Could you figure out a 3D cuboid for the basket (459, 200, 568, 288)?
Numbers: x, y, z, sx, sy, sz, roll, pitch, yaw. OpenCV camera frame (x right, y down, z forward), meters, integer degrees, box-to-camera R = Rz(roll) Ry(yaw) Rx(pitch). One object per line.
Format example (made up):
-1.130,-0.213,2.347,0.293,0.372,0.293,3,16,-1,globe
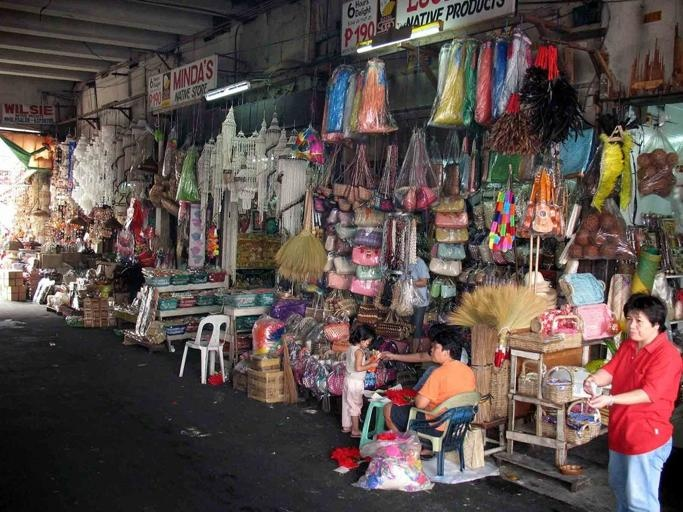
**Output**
1.593,-0.118,5.875,0.654,0.940,0.314,-2,9,37,basket

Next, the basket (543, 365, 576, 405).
1.738,1.050,4.432,0.231,0.246,0.222,4,7,32,basket

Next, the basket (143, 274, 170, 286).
-2.695,0.367,7.971,0.376,0.158,0.157,1,6,5,basket

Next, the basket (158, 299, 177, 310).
-2.514,0.718,7.905,0.170,0.113,0.171,-2,11,-25,basket

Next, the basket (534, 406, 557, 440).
1.680,1.396,4.535,0.188,0.319,0.247,-1,-5,6,basket

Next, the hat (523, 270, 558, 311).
1.818,0.326,4.975,0.311,0.333,0.329,-1,6,0,hat

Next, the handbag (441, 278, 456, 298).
1.179,0.369,6.133,0.203,0.249,0.092,0,-4,-22,handbag

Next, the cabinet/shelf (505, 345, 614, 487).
1.802,1.278,4.907,0.621,1.080,1.150,2,3,28,cabinet/shelf

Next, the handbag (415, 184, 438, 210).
0.872,-0.627,5.769,0.189,0.205,0.105,-21,-6,10,handbag

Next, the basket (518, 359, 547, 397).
1.557,1.031,4.561,0.188,0.287,0.283,0,-7,8,basket

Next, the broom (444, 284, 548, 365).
1.348,0.575,4.689,0.634,0.633,0.657,-1,-2,8,broom

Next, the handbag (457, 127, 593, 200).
1.932,-0.961,5.455,1.083,0.593,0.579,2,6,15,handbag

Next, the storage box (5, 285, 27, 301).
-7.494,0.853,12.630,0.347,0.401,0.391,5,-2,-6,storage box

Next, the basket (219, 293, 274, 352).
-1.229,0.795,7.115,0.719,0.762,0.573,0,4,-19,basket

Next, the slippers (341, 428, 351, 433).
0.036,1.662,5.163,0.076,0.036,0.031,-2,2,25,slippers

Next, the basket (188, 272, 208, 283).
-2.163,0.341,8.288,0.177,0.145,0.181,1,0,-32,basket

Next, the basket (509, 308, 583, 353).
1.729,0.593,4.657,0.536,0.286,0.327,-4,5,-36,basket

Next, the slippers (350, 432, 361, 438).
0.122,1.665,5.061,0.081,0.038,0.039,-3,5,0,slippers

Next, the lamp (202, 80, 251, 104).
-1.575,-2.259,7.493,0.244,0.164,0.996,-4,8,-41,lamp

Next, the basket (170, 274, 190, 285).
-2.392,0.360,8.074,0.202,0.099,0.141,-3,2,-32,basket

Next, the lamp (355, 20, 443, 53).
0.544,-2.249,5.595,0.774,0.122,0.115,-3,36,49,lamp

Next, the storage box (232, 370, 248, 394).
-1.162,1.434,6.237,0.182,0.258,0.345,0,4,-27,storage box

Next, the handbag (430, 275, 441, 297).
1.062,0.364,6.250,0.126,0.242,0.219,2,6,10,handbag

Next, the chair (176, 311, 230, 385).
-1.739,1.089,6.901,0.610,0.825,1.181,-1,6,-17,chair

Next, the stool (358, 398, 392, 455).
0.264,1.482,4.807,0.369,0.542,0.398,3,-9,-11,stool

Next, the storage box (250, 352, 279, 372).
-0.848,1.159,5.937,0.202,0.093,0.206,0,1,41,storage box
